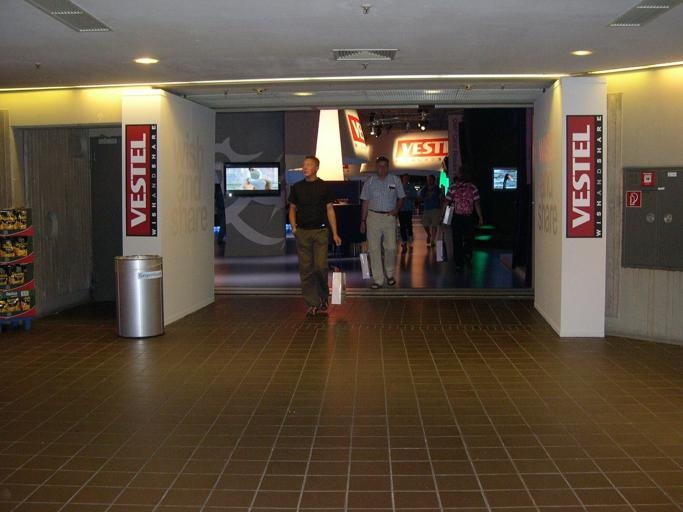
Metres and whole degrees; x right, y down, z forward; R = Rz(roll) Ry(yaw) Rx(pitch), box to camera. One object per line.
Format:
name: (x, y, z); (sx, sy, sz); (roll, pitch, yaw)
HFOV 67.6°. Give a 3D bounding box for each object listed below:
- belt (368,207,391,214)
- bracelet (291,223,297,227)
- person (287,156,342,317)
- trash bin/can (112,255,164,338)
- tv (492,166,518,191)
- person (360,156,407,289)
belt: (0.655, -0.773, 8.700); (0.372, 0.093, 0.116); (-1, 9, 1)
bracelet: (-0.676, -0.438, 7.230); (0.058, 0.055, 0.060); (0, 4, 14)
person: (-0.392, -0.264, 7.285); (0.677, 2.282, 0.516); (-2, 7, -6)
trash bin/can: (-2.480, 0.493, 6.259); (0.561, 0.988, 0.290); (-5, 8, -26)
tv: (5.469, -2.636, 17.078); (1.077, 0.997, 0.585); (-1, 9, 6)
person: (0.706, -0.581, 8.812); (0.858, 2.224, 0.557); (-1, 5, 1)
